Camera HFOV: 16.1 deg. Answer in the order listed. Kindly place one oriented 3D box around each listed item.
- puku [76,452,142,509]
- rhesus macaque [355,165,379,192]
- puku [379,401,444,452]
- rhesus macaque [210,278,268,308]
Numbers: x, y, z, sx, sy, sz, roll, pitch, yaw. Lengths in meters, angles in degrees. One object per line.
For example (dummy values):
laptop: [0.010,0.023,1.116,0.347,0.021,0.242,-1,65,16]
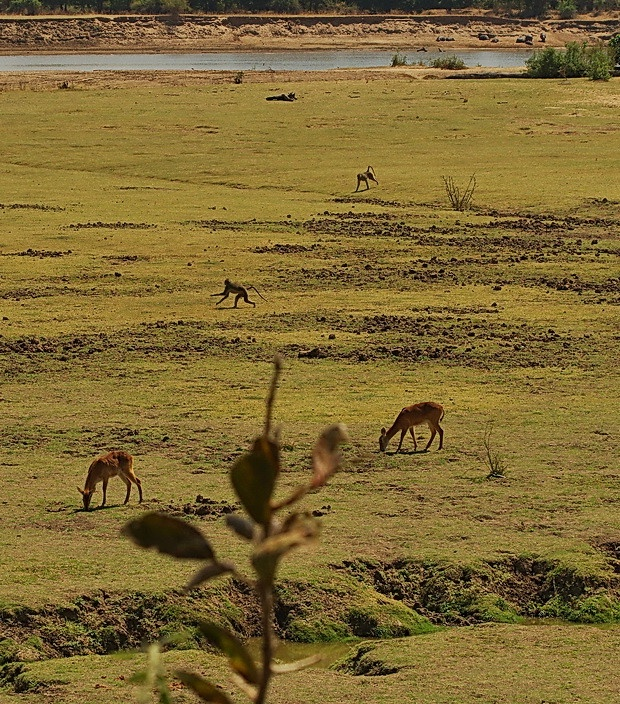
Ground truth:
puku: [-2.596,1.695,28.814,0.932,0.749,0.287,-15,12,-43]
rhesus macaque: [1.302,-4.138,51.988,0.556,0.612,1.780,-4,13,2]
puku: [1.387,0.993,30.803,0.905,0.731,0.810,-4,12,2]
rhesus macaque: [-1.261,-1.102,38.596,0.948,0.556,1.468,-5,13,-2]
